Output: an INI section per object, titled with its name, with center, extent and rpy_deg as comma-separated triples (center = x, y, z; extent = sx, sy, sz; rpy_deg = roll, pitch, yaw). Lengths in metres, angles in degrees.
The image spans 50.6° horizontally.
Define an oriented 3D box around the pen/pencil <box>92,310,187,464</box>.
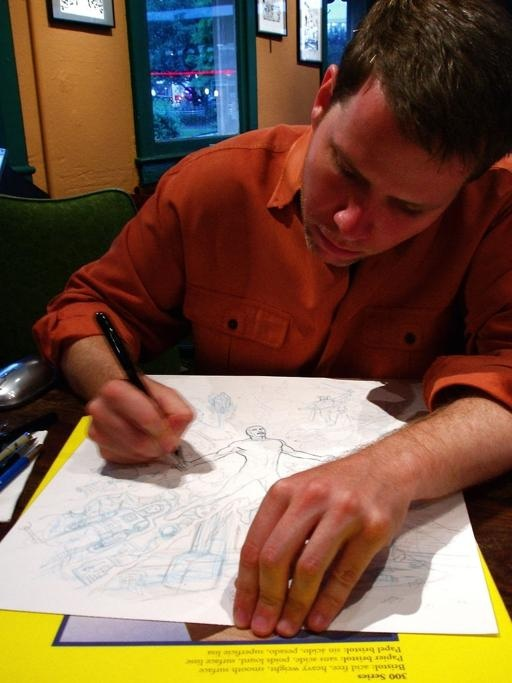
[pen/pencil]
center = -0.184, 0.065, 0.828
extent = 0.030, 0.029, 0.256
rpy_deg = -27, 69, -6
